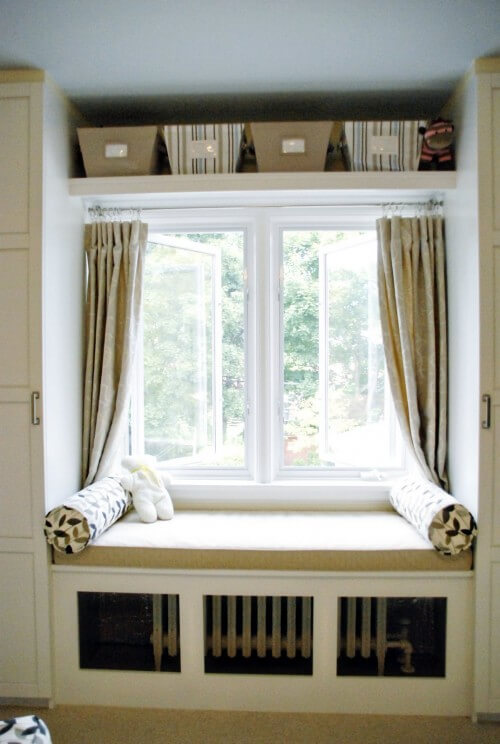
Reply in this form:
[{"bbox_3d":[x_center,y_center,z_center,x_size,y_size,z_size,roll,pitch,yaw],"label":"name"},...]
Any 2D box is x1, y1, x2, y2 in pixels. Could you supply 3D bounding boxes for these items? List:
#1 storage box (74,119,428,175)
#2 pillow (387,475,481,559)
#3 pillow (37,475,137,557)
[{"bbox_3d":[0.019,-0.926,3.348,1.419,0.204,0.302,-2,0,3],"label":"storage box"},{"bbox_3d":[0.720,0.557,3.211,0.211,0.199,0.430,-17,15,-6],"label":"pillow"},{"bbox_3d":[-0.631,0.580,3.197,0.187,0.226,0.420,-2,0,20],"label":"pillow"}]
